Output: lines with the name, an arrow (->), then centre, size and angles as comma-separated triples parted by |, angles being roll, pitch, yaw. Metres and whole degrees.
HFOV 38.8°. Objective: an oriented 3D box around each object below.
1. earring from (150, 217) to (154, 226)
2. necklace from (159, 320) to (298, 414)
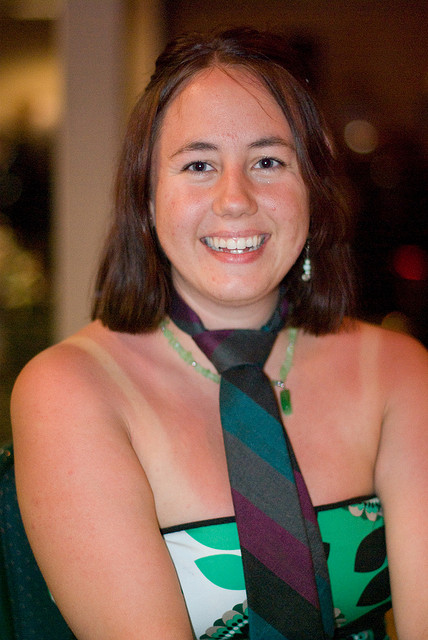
earring -> -0.146, -0.235, 1.450 | 0.008, 0.022, 0.004 | 10, 57, 5
necklace -> 0.037, 0.099, 1.434 | 0.340, 0.080, 0.269 | 3, 54, 0
